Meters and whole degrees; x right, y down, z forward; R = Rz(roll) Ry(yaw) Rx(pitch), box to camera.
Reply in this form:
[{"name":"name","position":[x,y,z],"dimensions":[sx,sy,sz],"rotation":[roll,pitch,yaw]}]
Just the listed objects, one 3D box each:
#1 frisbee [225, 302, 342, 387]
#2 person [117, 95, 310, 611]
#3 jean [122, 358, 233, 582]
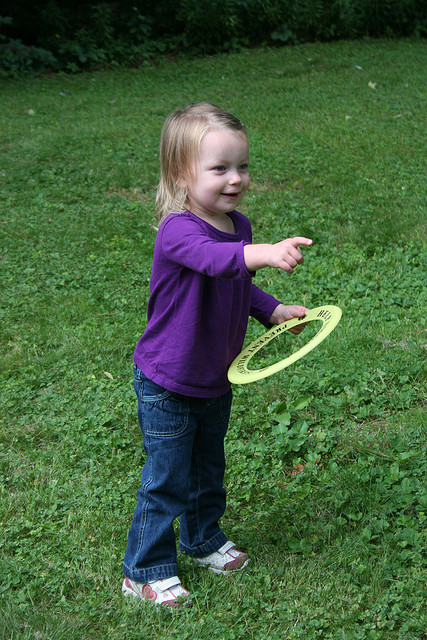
[{"name":"frisbee","position":[0.348,0.138,2.917],"dimensions":[0.466,0.032,0.363],"rotation":[-33,16,-25]},{"name":"person","position":[-0.093,0.184,2.142],"dimensions":[0.533,1.815,0.685],"rotation":[-2,18,-8]},{"name":"jean","position":[-0.143,0.576,2.338],"dimensions":[0.302,0.841,0.481],"rotation":[10,20,27]}]
